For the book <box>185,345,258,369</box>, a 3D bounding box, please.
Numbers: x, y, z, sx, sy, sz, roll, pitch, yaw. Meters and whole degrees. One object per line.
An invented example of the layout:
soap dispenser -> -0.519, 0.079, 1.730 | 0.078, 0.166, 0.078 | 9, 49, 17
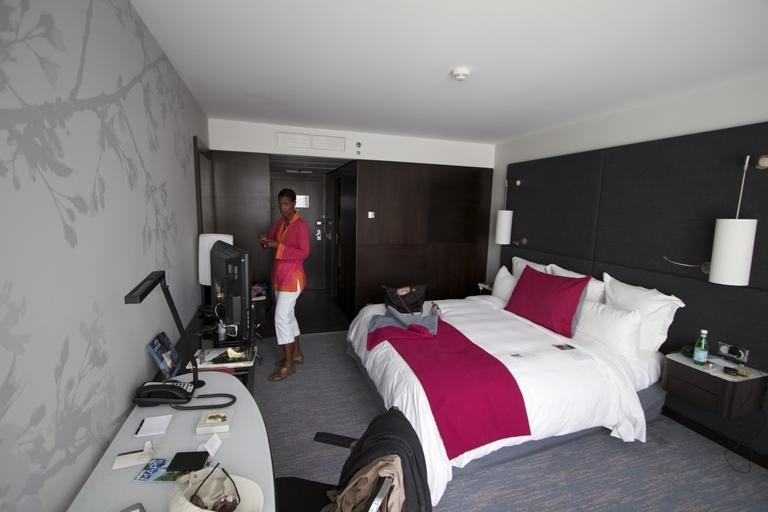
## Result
book -> -1.162, 0.745, 3.393 | 0.250, 0.061, 0.253 | 0, 12, -4

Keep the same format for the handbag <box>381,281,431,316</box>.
handbag -> 0.206, 0.377, 4.687 | 0.407, 0.240, 0.265 | -2, 9, -16

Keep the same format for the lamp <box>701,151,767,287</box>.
lamp -> 2.791, -0.272, 3.698 | 0.310, 1.056, 0.277 | 3, 9, 17

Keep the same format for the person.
person -> -0.996, 0.264, 4.757 | 0.450, 1.880, 0.548 | -1, 8, -14

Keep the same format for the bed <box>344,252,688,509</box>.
bed -> 1.051, 0.887, 3.872 | 1.919, 1.006, 1.971 | -2, 16, -12

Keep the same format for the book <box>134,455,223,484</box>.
book -> -1.081, 1.127, 2.450 | 0.268, 0.028, 0.147 | -5, 14, -22

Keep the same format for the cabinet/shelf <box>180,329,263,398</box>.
cabinet/shelf -> -1.182, 0.753, 3.318 | 0.574, 0.226, 0.570 | 2, 10, -22

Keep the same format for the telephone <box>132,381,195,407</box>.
telephone -> -1.343, 0.844, 2.866 | 0.244, 0.083, 0.174 | -2, 2, -5

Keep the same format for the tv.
tv -> -1.116, 0.292, 3.391 | 0.240, 0.699, 0.676 | -4, 11, -30

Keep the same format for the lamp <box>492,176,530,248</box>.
lamp -> 1.553, -0.535, 5.827 | 0.321, 0.850, 0.481 | 0, 8, -4

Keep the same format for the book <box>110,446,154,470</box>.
book -> -1.352, 1.091, 2.514 | 0.119, 0.037, 0.102 | -2, 19, -27

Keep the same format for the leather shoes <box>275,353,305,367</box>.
leather shoes -> -0.988, 1.100, 4.939 | 0.308, 0.137, 0.106 | -1, 14, -6
